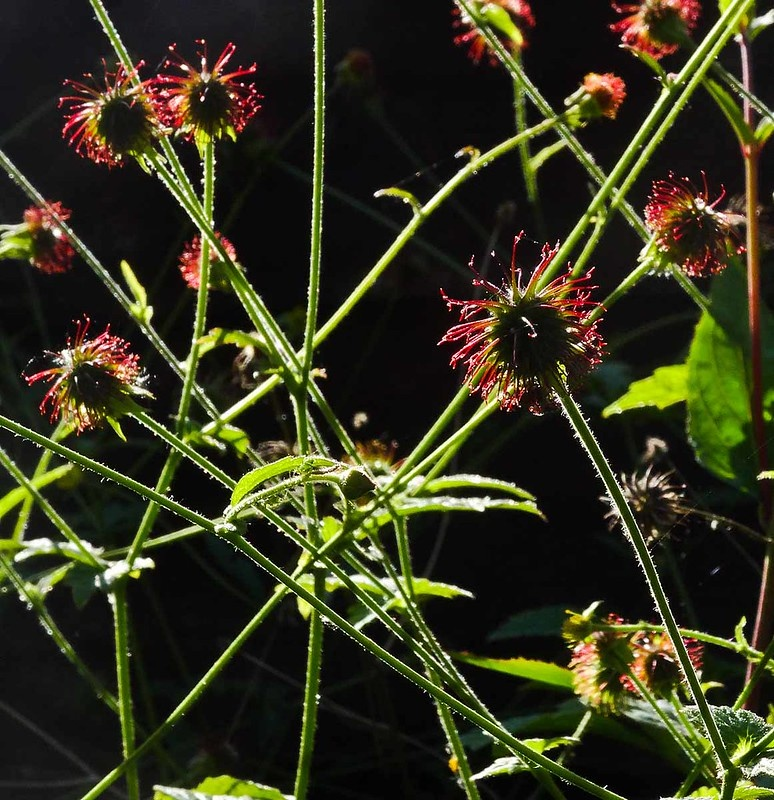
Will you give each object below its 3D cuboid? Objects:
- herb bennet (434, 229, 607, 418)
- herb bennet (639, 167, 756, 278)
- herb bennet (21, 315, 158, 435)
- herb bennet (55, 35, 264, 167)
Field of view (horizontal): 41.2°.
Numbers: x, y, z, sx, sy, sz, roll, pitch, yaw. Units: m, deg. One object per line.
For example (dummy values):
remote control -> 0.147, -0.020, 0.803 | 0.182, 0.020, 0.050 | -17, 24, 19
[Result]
herb bennet -> 0.099, -0.060, 0.731 | 0.111, 0.120, 0.125 | -9, -9, 37
herb bennet -> 0.256, -0.140, 0.834 | 0.076, 0.073, 0.073 | 9, 7, 33
herb bennet -> -0.241, -0.028, 0.810 | 0.101, 0.071, 0.092 | -8, -16, 7
herb bennet -> -0.184, -0.247, 0.832 | 0.142, 0.144, 0.080 | -17, -48, 5
